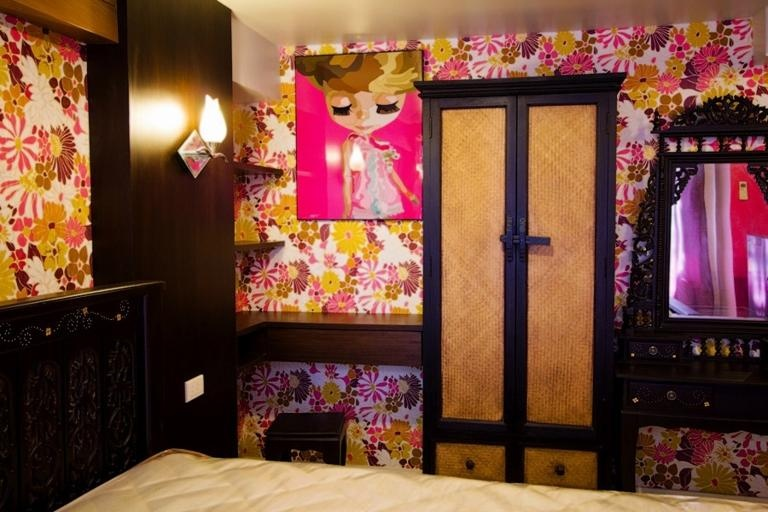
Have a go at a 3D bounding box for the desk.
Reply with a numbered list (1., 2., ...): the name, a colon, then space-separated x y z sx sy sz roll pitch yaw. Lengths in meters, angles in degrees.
1. desk: -0.409 0.584 4.211 1.333 0.349 0.540 2 0 -2

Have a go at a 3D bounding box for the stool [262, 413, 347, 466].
1. stool: -0.513 1.268 3.985 0.495 0.335 0.374 -2 5 9

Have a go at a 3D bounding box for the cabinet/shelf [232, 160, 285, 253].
1. cabinet/shelf: -0.925 -0.382 4.392 0.433 0.657 0.669 0 -1 2
